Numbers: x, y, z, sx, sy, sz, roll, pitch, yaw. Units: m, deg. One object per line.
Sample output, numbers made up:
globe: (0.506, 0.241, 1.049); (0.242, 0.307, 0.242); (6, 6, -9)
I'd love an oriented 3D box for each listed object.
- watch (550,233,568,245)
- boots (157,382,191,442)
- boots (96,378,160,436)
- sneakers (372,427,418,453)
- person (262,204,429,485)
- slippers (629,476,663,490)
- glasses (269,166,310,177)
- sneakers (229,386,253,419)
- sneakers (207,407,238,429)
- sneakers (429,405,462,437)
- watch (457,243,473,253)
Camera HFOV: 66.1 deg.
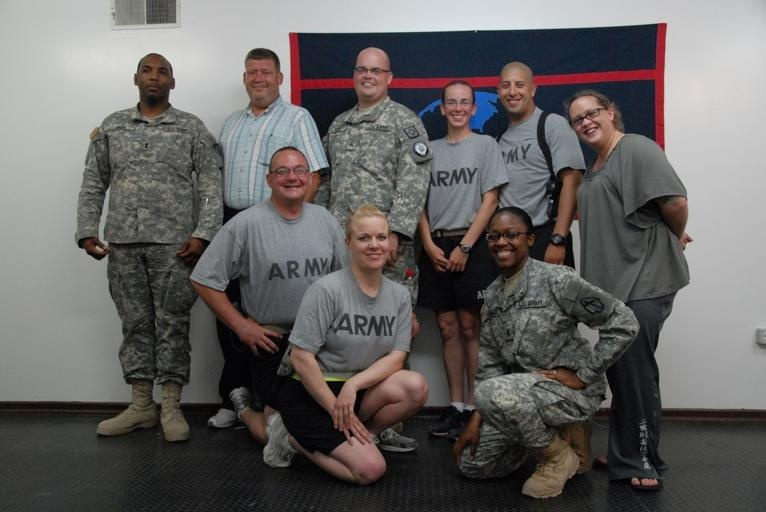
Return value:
watch: (1.165, -0.115, 3.943); (0.103, 0.060, 0.095); (-1, 1, 35)
boots: (-1.419, 1.039, 3.980); (0.182, 0.338, 0.350); (-3, 7, -21)
boots: (-1.785, 1.041, 4.050); (0.170, 0.328, 0.445); (-10, -7, 36)
sneakers: (0.075, 1.187, 3.812); (0.386, 0.154, 0.122); (0, 3, 5)
person: (-0.218, 0.490, 3.353); (0.923, 1.539, 0.453); (-1, 7, -10)
slippers: (1.432, 1.241, 3.217); (0.183, 0.063, 0.058); (-3, -9, 12)
glasses: (-0.581, -0.519, 3.596); (0.229, 0.064, 0.076); (-1, 7, -6)
sneakers: (-0.966, 0.971, 3.944); (0.139, 0.086, 0.218); (-10, 49, -4)
sneakers: (-1.128, 1.142, 4.142); (0.116, 0.071, 0.181); (0, -5, 21)
sneakers: (0.444, 1.137, 4.022); (0.109, 0.122, 0.302); (2, 3, 43)
watch: (0.561, -0.054, 4.044); (0.089, 0.052, 0.078); (17, 10, -3)
